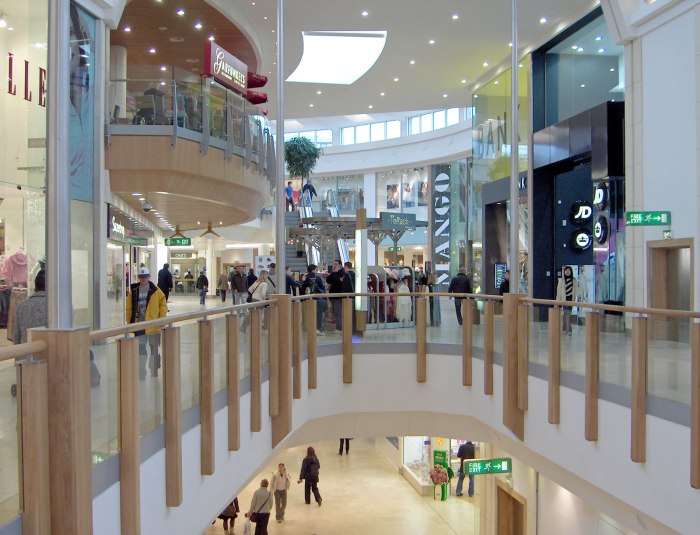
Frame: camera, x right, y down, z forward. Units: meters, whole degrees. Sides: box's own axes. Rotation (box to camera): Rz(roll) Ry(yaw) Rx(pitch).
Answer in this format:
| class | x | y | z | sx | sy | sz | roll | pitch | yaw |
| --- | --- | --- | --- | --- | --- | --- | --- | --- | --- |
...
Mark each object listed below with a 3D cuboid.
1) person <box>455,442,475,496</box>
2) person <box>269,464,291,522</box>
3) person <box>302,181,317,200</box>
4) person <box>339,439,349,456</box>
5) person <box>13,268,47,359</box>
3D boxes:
| class | x | y | z | sx | sy | sz | roll | pitch | yaw |
| --- | --- | --- | --- | --- | --- | --- | --- | --- | --- |
| person | 3.720 | 6.509 | 18.319 | 0.538 | 0.549 | 1.782 | 1 | 43 | 12 |
| person | -2.020 | 6.436 | 16.683 | 0.505 | 1.696 | 1.124 | 2 | -1 | -7 |
| person | -2.044 | -3.888 | 29.110 | 0.574 | 1.096 | 2.330 | 2 | -1 | -2 |
| person | -0.208 | 7.328 | 23.638 | 0.454 | 0.657 | 1.216 | 2 | -1 | -1 |
| person | -3.357 | 0.410 | 6.127 | 0.278 | 0.775 | 3.013 | 3 | -1 | -29 |
